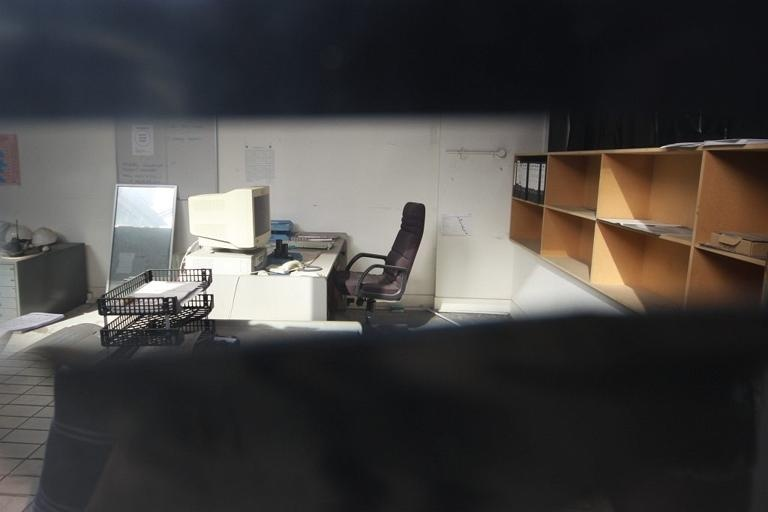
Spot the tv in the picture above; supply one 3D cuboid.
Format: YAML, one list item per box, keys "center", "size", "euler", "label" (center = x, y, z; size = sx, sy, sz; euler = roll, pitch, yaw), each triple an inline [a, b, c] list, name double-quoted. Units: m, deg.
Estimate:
- center: [-0.812, -0.210, 2.780]
  size: [0.354, 0.315, 0.360]
  euler: [2, 8, 4]
  label: "tv"

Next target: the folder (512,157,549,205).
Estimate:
- center: [0.929, -0.471, 3.236]
  size: [0.138, 0.335, 0.392]
  euler: [0, 1, -5]
  label: "folder"
